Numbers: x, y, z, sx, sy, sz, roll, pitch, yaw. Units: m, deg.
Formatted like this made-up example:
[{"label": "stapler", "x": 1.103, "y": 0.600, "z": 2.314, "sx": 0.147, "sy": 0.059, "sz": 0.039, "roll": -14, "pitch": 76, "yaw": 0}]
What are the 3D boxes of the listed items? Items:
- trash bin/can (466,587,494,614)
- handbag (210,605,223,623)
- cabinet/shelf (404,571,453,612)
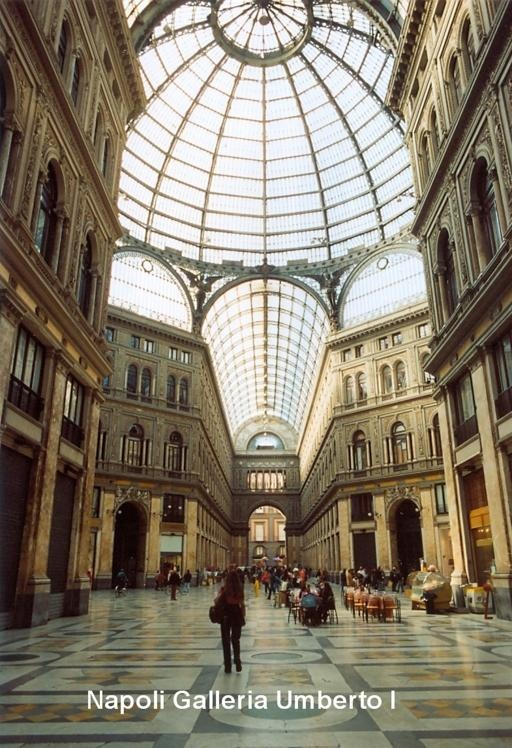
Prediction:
[{"label": "trash bin/can", "x": 7.144, "y": 7.238, "z": 14.861, "sx": 0.476, "sy": 0.773, "sz": 1.344, "roll": 2, "pitch": -22, "yaw": -5}, {"label": "handbag", "x": -0.527, "y": 3.117, "z": 6.017, "sx": 0.143, "sy": 0.199, "sz": 0.364, "roll": 3, "pitch": -22, "yaw": -7}, {"label": "cabinet/shelf", "x": 6.198, "y": 7.861, "z": 16.721, "sx": 1.070, "sy": 1.323, "sz": 2.455, "roll": -1, "pitch": -28, "yaw": 3}]
